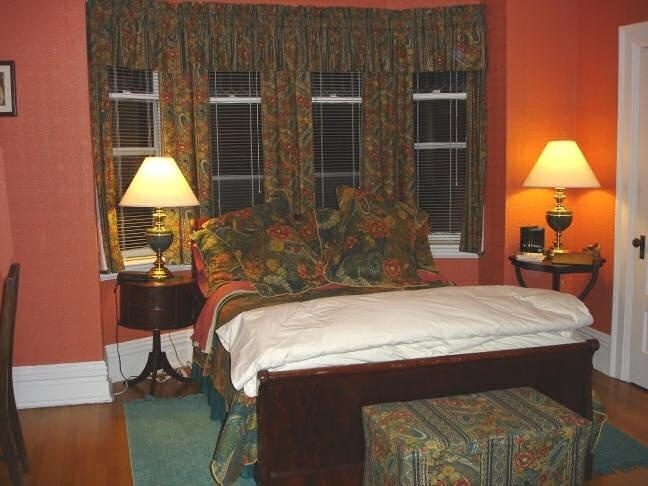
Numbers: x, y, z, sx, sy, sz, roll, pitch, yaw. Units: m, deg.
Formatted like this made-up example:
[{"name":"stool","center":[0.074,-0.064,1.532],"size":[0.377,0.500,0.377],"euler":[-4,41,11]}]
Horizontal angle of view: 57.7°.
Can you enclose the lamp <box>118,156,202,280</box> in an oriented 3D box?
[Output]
[{"name":"lamp","center":[-1.252,-0.197,4.499],"size":[0.553,0.895,0.549],"euler":[-2,5,-42]}]

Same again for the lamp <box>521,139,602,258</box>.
[{"name":"lamp","center":[1.934,-0.379,4.807],"size":[0.570,0.936,0.589],"euler":[-1,9,4]}]

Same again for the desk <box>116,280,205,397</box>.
[{"name":"desk","center":[-1.313,0.686,4.644],"size":[0.577,0.937,0.626],"euler":[-1,8,-22]}]

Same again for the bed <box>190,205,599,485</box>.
[{"name":"bed","center":[-0.040,0.796,4.232],"size":[1.756,0.907,1.709],"euler":[-9,20,-23]}]
